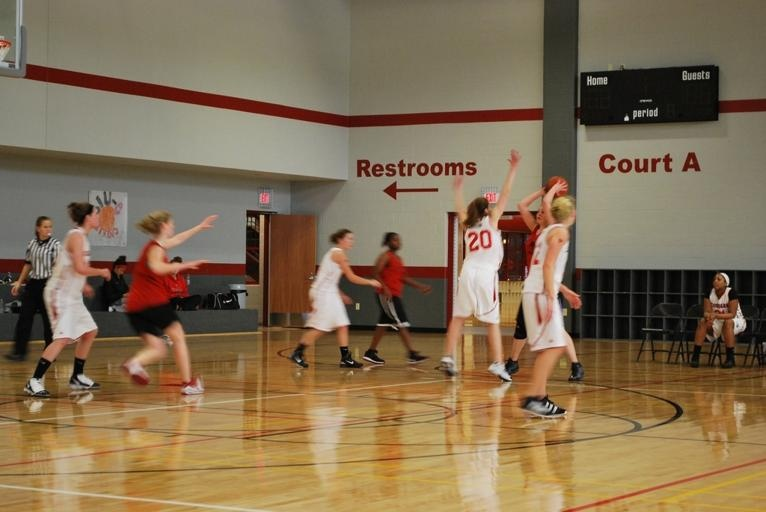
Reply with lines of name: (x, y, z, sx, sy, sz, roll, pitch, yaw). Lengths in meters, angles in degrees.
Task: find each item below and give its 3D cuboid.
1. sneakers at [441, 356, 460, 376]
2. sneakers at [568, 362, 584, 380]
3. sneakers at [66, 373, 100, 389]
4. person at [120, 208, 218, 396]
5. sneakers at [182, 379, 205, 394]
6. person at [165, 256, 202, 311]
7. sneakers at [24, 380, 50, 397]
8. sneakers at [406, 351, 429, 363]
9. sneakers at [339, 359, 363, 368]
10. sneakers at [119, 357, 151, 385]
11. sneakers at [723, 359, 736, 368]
sneakers: (0.855, 1.413, 8.132, 0.158, 0.192, 0.441, -1, -9, 17)
sneakers: (2.598, 1.532, 8.327, 0.144, 0.268, 0.383, -6, -8, 25)
sneakers: (-3.437, 1.440, 7.231, 0.318, 0.129, 0.173, 1, 1, -6)
person: (-2.275, 0.535, 6.642, 0.758, 2.001, 1.003, 2, 4, 13)
sneakers: (-2.084, 1.443, 6.987, 0.262, 0.109, 0.111, -8, 7, -32)
person: (-4.771, 0.671, 14.658, 0.842, 1.098, 0.828, 3, -5, -42)
sneakers: (-3.731, 1.427, 6.802, 0.280, 0.127, 0.146, 8, 4, 30)
sneakers: (0.504, 1.583, 9.900, 0.399, 0.182, 0.155, -5, -3, 23)
sneakers: (-0.487, 1.617, 9.482, 0.403, 0.171, 0.136, 2, 0, -7)
sneakers: (-2.476, 1.167, 6.348, 0.126, 0.313, 0.173, 8, 51, 53)
sneakers: (5.448, 1.709, 9.946, 0.270, 0.112, 0.106, 7, -10, -38)
